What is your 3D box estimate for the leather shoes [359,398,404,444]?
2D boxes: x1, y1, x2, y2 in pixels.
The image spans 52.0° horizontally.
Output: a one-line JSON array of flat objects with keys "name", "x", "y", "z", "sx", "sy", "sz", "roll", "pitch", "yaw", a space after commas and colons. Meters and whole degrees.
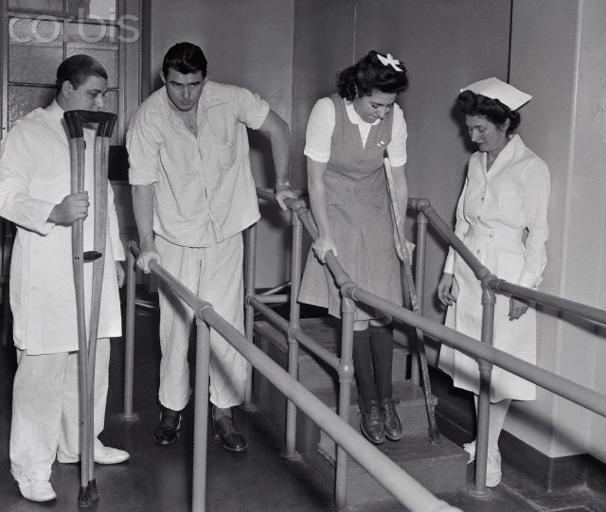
[{"name": "leather shoes", "x": 0.311, "y": 0.661, "z": 2.492, "sx": 0.118, "sy": 0.077, "sz": 0.214, "roll": -10, "pitch": 47, "yaw": -17}]

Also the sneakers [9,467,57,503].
[{"name": "sneakers", "x": -0.995, "y": 0.848, "z": 2.307, "sx": 0.076, "sy": 0.100, "sz": 0.212, "roll": 0, "pitch": 3, "yaw": -42}]

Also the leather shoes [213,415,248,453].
[{"name": "leather shoes", "x": -0.343, "y": 0.802, "z": 2.860, "sx": 0.076, "sy": 0.112, "sz": 0.225, "roll": -8, "pitch": 11, "yaw": -27}]

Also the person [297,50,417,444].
[{"name": "person", "x": 0.207, "y": 0.011, "z": 2.472, "sx": 0.450, "sy": 1.568, "sz": 0.406, "roll": 0, "pitch": 10, "yaw": 0}]

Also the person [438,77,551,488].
[{"name": "person", "x": 0.828, "y": 0.093, "z": 2.694, "sx": 0.379, "sy": 1.674, "sz": 0.573, "roll": 0, "pitch": 11, "yaw": -4}]

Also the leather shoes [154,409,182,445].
[{"name": "leather shoes", "x": -0.618, "y": 0.777, "z": 2.830, "sx": 0.069, "sy": 0.092, "sz": 0.203, "roll": 12, "pitch": -3, "yaw": -5}]

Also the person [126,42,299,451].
[{"name": "person", "x": -0.420, "y": -0.088, "z": 2.861, "sx": 0.603, "sy": 1.755, "sz": 0.541, "roll": -3, "pitch": 33, "yaw": -9}]

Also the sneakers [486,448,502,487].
[{"name": "sneakers", "x": 0.801, "y": 0.882, "z": 2.612, "sx": 0.055, "sy": 0.170, "sz": 0.066, "roll": 0, "pitch": -13, "yaw": 12}]
